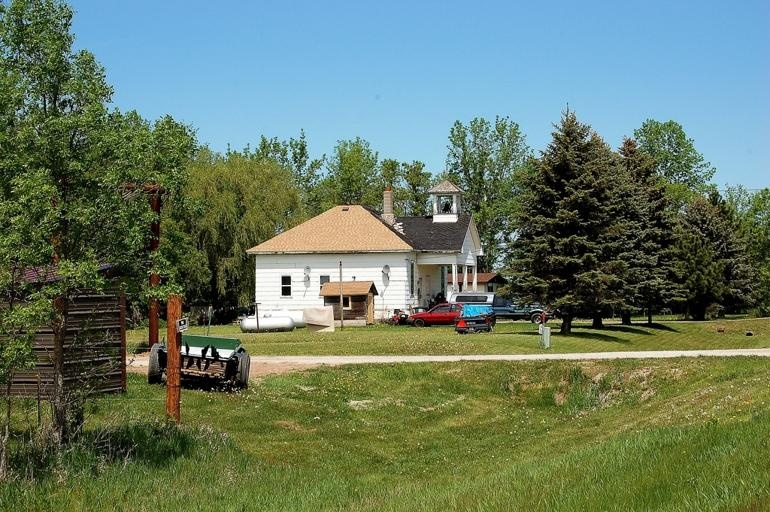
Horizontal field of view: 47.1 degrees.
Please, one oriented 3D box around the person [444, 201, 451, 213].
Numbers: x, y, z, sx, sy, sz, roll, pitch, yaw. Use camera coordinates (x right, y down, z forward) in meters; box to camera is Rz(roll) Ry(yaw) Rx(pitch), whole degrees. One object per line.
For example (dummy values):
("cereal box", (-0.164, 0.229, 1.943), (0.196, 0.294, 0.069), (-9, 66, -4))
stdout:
("person", (5.086, -3.882, 72.868), (0.590, 0.871, 0.272), (4, -8, 16))
